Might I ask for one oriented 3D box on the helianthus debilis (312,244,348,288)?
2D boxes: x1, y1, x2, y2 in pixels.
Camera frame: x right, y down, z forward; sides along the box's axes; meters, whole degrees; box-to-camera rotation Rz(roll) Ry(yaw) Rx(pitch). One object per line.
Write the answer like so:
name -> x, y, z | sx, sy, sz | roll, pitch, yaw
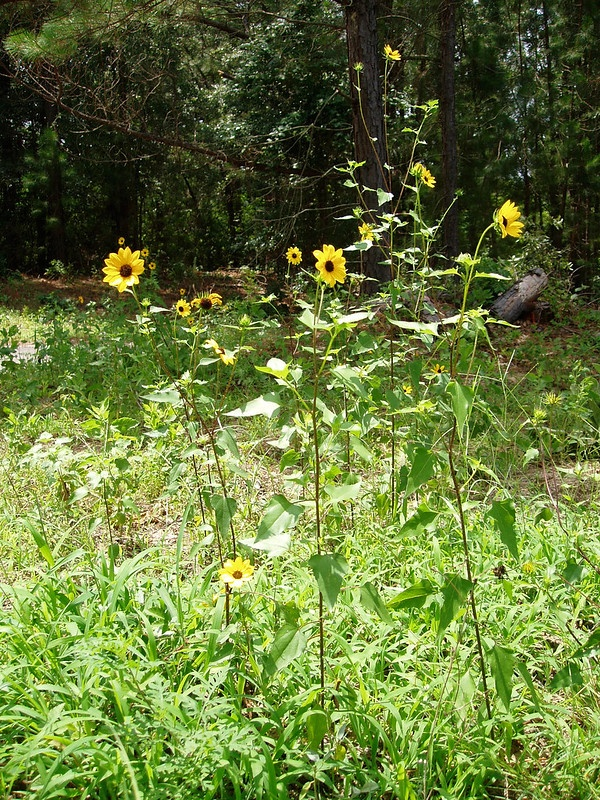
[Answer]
helianthus debilis -> 0.075, -0.355, 1.840 | 0.109, 0.110, 0.029 | 13, -7, -27
